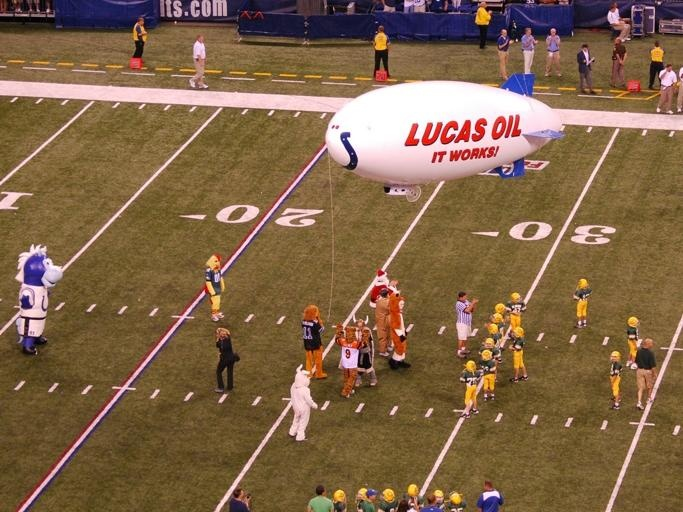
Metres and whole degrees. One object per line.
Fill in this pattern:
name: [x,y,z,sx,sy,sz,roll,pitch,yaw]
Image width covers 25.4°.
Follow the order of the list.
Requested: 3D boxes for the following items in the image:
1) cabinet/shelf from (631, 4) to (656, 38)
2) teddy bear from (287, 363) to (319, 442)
cabinet/shelf: [11.332,-8.856,56.971,1.191,1.229,0.424,-20,30,-38]
teddy bear: [-0.981,3.550,35.917,0.643,1.699,0.493,-2,23,-3]
